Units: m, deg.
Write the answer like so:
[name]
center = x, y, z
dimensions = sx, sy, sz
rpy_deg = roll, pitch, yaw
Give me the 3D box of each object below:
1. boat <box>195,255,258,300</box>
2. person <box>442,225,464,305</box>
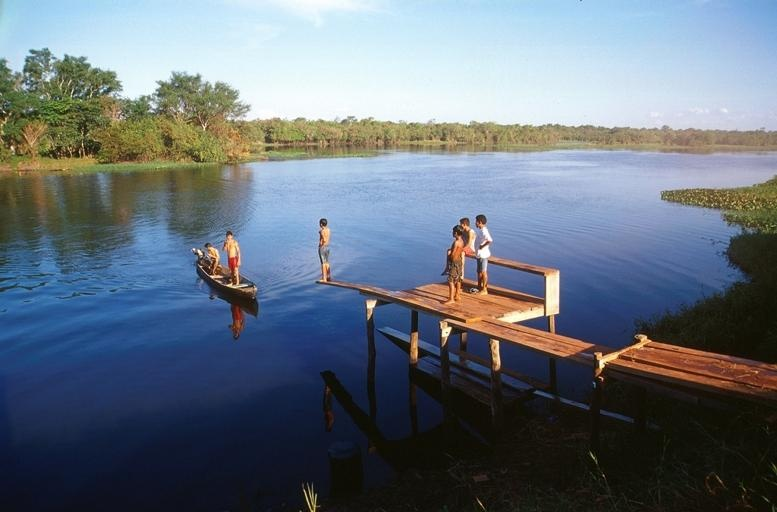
[boat]
center = -10.947, 1.588, 35.764
dimensions = 1.889, 1.597, 9.138
rpy_deg = -14, 24, -29
[person]
center = 2.943, 0.246, 24.198
dimensions = 0.730, 3.440, 1.233
rpy_deg = 5, 14, 6
